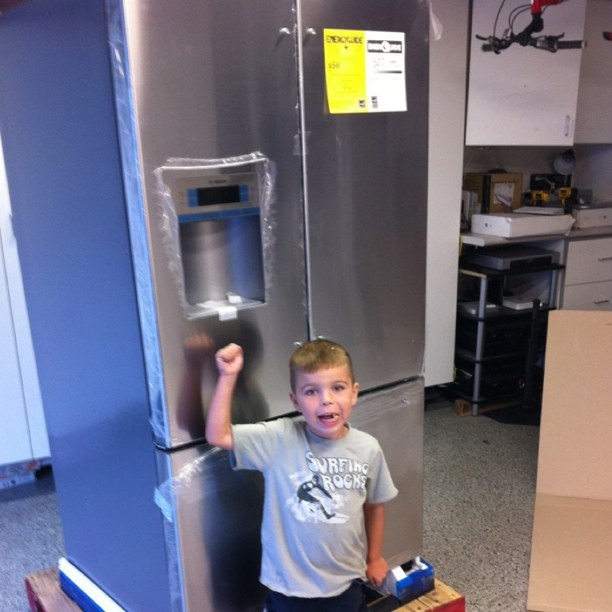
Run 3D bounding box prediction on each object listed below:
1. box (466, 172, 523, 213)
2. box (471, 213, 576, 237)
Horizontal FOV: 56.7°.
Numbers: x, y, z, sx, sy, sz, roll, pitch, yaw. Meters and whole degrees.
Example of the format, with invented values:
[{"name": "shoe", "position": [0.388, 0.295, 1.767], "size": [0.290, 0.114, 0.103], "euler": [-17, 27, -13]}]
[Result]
[{"name": "box", "position": [1.150, -0.694, 3.470], "size": [0.350, 0.241, 0.222], "euler": [0, 13, 7]}, {"name": "box", "position": [1.184, -0.440, 3.125], "size": [0.539, 0.115, 0.321], "euler": [2, 13, 16]}]
